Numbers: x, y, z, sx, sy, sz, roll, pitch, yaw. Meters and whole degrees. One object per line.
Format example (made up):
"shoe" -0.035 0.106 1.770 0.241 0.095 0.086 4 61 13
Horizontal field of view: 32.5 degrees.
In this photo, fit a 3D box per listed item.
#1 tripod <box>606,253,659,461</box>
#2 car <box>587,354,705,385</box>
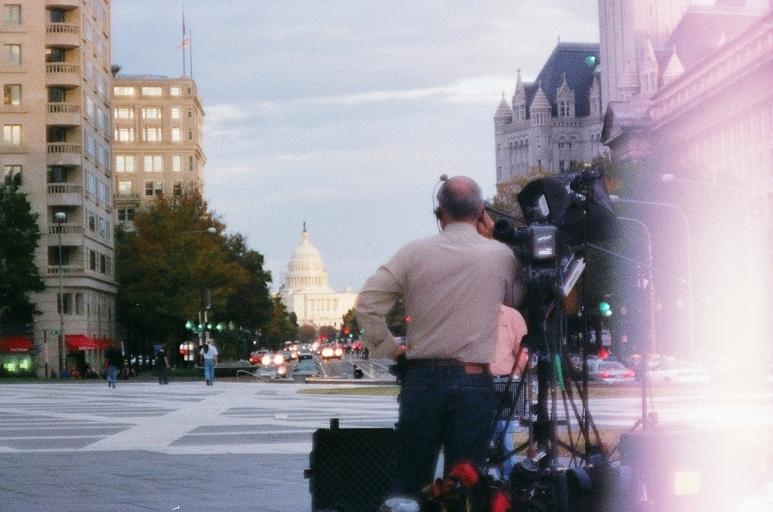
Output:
"tripod" 10.232 4.104 55.488 1.610 7.216 1.773 4 3 21
"car" 13.553 5.995 69.366 7.170 2.214 3.261 -2 0 0
